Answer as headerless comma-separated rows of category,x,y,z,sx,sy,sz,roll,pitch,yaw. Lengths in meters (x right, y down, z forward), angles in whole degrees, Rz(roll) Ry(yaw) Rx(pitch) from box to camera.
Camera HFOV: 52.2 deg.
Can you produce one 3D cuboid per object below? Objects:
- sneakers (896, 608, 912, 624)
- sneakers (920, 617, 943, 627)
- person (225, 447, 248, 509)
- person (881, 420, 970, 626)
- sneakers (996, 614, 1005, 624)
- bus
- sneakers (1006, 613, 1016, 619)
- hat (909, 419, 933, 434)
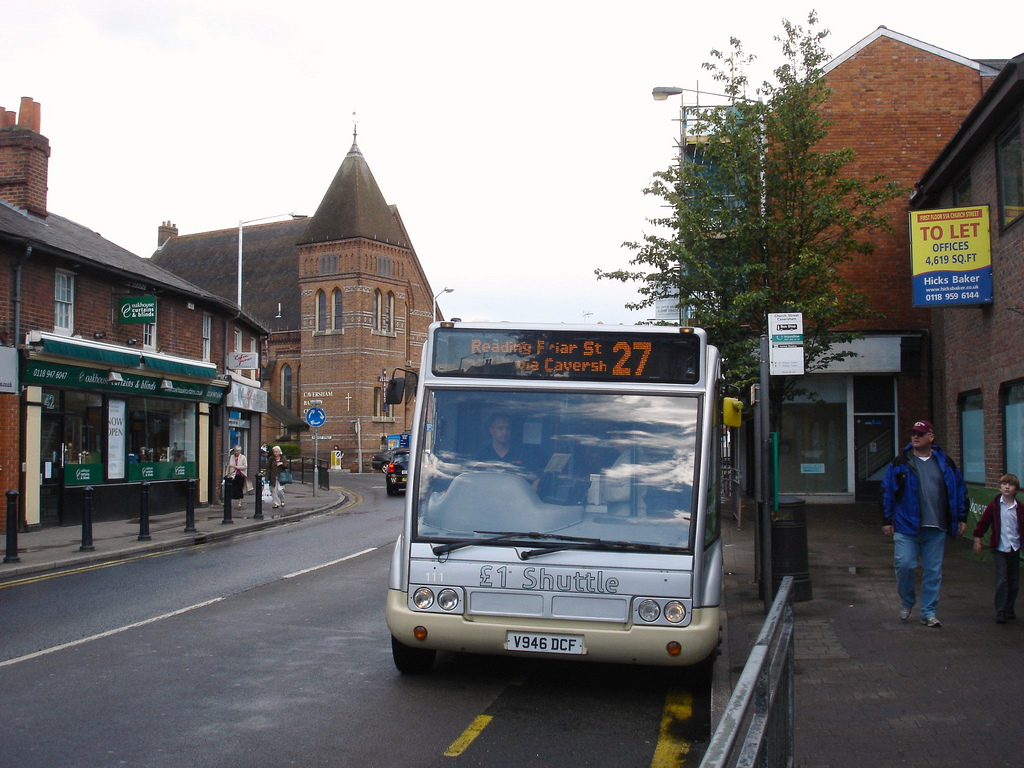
sneakers,4.327,2.558,11.573,0.102,0.139,0.316,-5,-12,24
sneakers,4.554,2.575,11.362,0.205,0.103,0.285,-5,-7,18
person,-8.343,2.641,31.623,0.488,1.623,3.427,-1,-6,-15
person,4.513,1.530,11.448,0.859,2.191,0.334,-4,-5,20
sneakers,5.410,2.589,11.585,0.139,0.088,0.091,-3,-6,1
bus,0.655,1.095,10.722,2.106,2.159,3.703,0,-6,8
sneakers,5.607,2.599,11.777,0.057,0.075,0.176,-7,-17,24
hat,6.119,0.603,15.671,0.331,0.186,0.226,17,-11,-42
